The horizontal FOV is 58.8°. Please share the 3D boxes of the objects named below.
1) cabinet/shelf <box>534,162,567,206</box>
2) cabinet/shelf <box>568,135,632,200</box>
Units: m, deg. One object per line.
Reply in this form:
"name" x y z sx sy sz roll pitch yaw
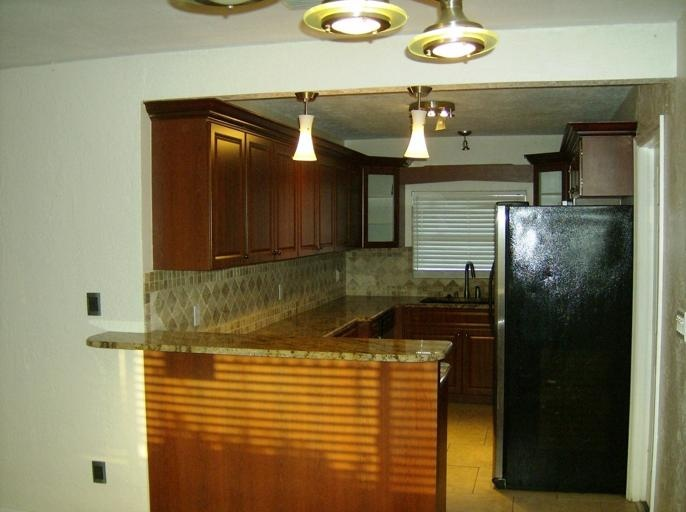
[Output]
"cabinet/shelf" 2.118 -0.737 6.185 0.154 0.289 0.556 1 -1 -10
"cabinet/shelf" 1.900 -0.574 4.523 0.367 0.447 0.682 3 -1 16
